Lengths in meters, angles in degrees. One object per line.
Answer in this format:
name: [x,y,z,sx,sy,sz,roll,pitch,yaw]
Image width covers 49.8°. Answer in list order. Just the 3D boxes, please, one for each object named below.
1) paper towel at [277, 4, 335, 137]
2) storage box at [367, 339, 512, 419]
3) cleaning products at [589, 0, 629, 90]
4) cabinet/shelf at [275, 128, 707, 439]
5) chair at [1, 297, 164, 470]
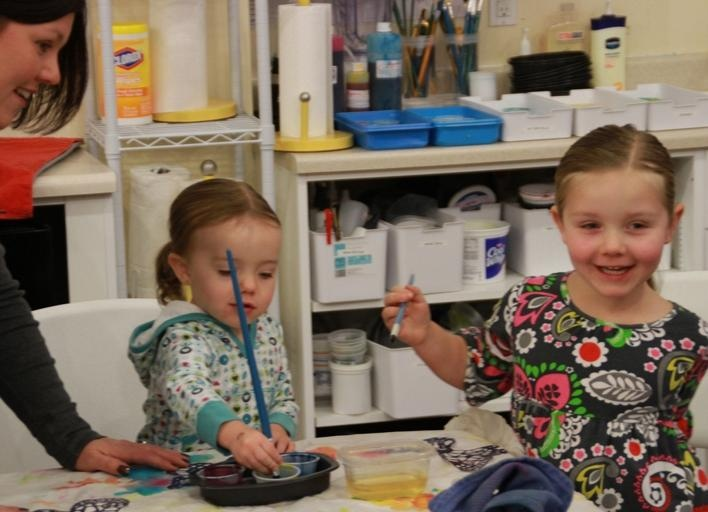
paper towel: [-0.141,-0.541,2.254,0.196,0.381,0.224,-7,12,-7]
storage box: [0.252,0.371,2.431,0.316,0.166,0.294,-1,6,-10]
cleaning products: [0.884,-0.706,2.658,0.112,0.255,0.066,-2,13,15]
cabinet/shelf: [0.293,0.054,1.812,1.096,0.874,0.327,-1,17,-7]
chair: [-0.515,0.245,1.523,0.380,0.311,0.278,0,-4,-19]
